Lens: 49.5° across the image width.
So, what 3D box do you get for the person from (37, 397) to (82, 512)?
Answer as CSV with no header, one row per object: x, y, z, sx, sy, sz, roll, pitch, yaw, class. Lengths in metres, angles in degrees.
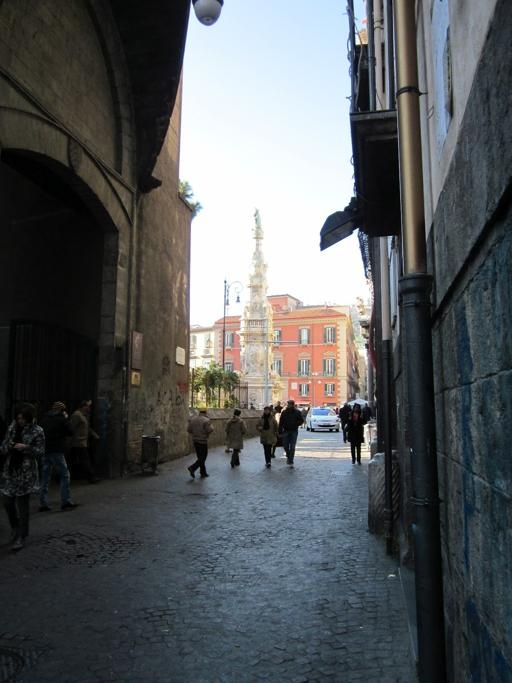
-3.074,1.841,8.656,0.431,1.695,0.459,-4,-29,-15,person

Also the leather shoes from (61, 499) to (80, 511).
-2.821,2.523,8.547,0.314,0.205,0.124,-3,9,-20,leather shoes

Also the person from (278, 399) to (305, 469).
0.959,2.538,15.409,0.498,1.912,0.646,2,-6,11,person

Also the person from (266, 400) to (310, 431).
0.919,2.111,15.536,0.576,0.875,1.174,-2,-6,-5,person

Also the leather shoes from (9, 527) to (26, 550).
-2.660,2.227,6.214,0.095,0.148,0.300,4,-23,-11,leather shoes
